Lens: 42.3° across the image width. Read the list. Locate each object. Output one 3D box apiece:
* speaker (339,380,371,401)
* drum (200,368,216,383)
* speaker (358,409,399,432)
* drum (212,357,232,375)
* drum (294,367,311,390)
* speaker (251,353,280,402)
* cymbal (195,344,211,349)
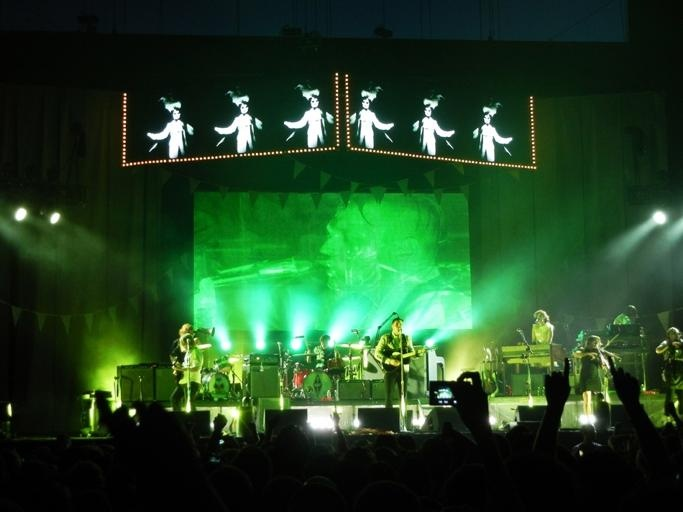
[{"bbox_3d":[0.229,2.475,16.494,0.632,0.400,0.336,1,-9,-7],"label":"speaker"},{"bbox_3d":[-2.492,2.259,16.675,0.258,0.257,0.242,21,-13,-29],"label":"drum"},{"bbox_3d":[0.617,2.602,14.014,0.617,0.330,0.389,3,-11,5],"label":"speaker"},{"bbox_3d":[-2.269,2.086,16.929,0.309,0.115,0.326,2,3,0],"label":"drum"},{"bbox_3d":[-0.795,2.391,17.403,0.330,0.319,0.337,-9,-17,33],"label":"drum"},{"bbox_3d":[-1.448,2.241,16.498,0.678,0.931,0.673,1,-13,-11],"label":"speaker"},{"bbox_3d":[-2.649,1.737,17.018,0.197,0.051,0.207,1,-3,-34],"label":"cymbal"}]
